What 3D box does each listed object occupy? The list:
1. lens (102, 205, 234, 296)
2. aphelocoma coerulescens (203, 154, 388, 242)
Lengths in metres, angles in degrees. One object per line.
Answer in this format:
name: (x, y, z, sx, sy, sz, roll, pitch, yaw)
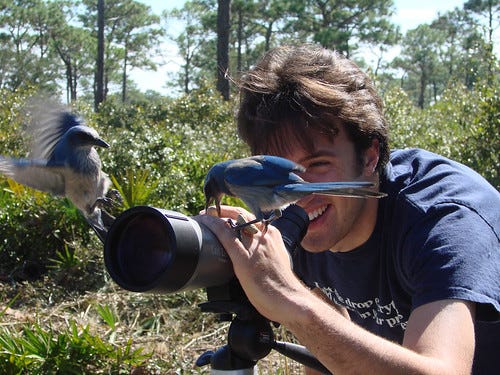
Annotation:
lens: (-0.778, 0.584, 6.222, 1.225, 0.786, 0.386, 2, 12, -16)
aphelocoma coerulescens: (0.258, -0.023, 6.692, 1.723, 1.084, 1.052, 1, 10, -29)
